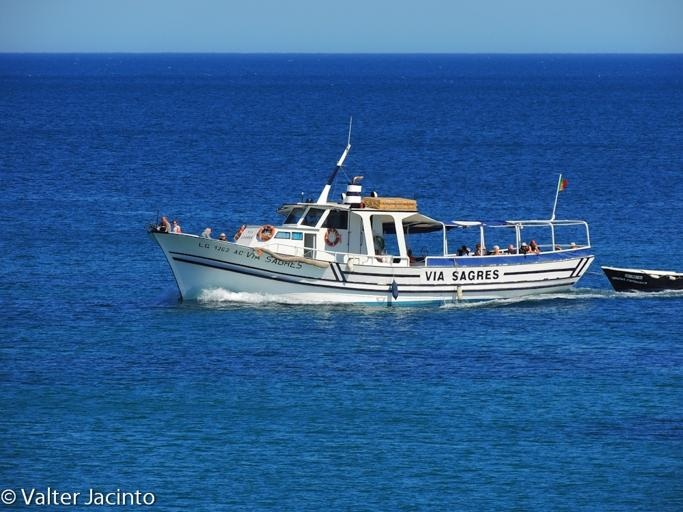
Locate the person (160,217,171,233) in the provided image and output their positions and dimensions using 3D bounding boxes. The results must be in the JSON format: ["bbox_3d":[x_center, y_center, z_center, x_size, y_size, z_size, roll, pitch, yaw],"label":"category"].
[{"bbox_3d":[-12.860,-2.212,102.817,0.720,1.132,1.809,-5,24,-8],"label":"person"}]
